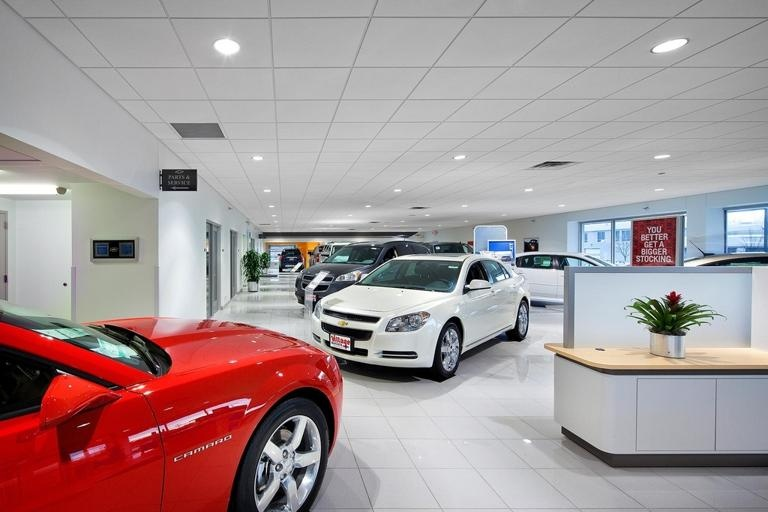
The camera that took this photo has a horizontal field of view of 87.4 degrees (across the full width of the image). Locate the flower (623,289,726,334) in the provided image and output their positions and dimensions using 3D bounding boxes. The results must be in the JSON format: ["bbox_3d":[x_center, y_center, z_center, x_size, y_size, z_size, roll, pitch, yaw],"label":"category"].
[{"bbox_3d":[2.479,0.494,3.500,0.674,0.316,0.570,4,9,6],"label":"flower"}]

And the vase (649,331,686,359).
[{"bbox_3d":[2.424,0.774,3.492,0.209,0.208,0.337,7,-5,-31],"label":"vase"}]
